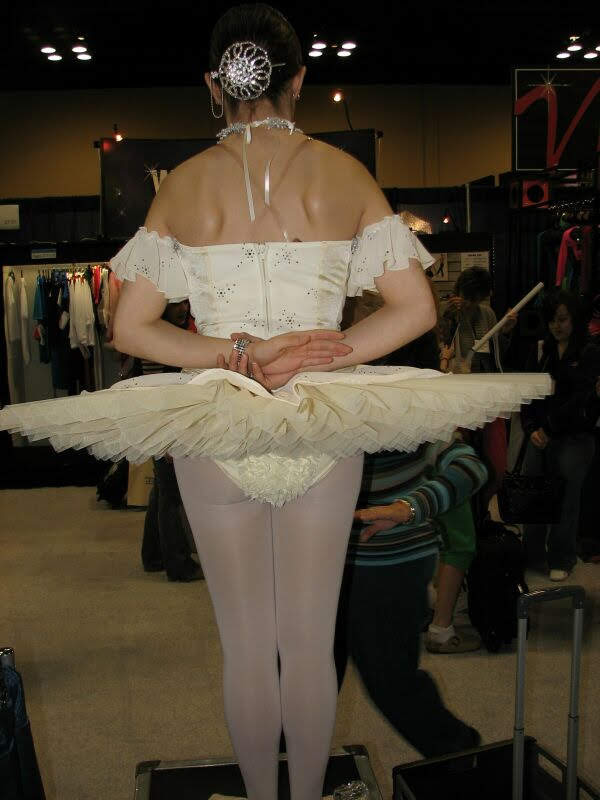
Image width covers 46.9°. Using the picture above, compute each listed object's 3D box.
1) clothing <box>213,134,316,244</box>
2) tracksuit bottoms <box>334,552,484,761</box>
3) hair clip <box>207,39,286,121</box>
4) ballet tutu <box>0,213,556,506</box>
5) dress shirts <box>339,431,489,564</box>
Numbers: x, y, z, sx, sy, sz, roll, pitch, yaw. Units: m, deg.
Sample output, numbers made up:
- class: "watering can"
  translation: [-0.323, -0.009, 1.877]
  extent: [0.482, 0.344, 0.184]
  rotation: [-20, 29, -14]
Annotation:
- class: "clothing"
  translation: [-0.056, -0.339, 1.098]
  extent: [0.147, 0.179, 0.056]
  rotation: [-4, -10, -5]
- class: "tracksuit bottoms"
  translation: [0.266, 0.774, 2.083]
  extent: [0.393, 0.489, 0.151]
  rotation: [-21, 20, 15]
- class: "hair clip"
  translation: [-0.081, -0.527, 1.129]
  extent: [0.142, 0.129, 0.033]
  rotation: [-2, 19, -3]
- class: "ballet tutu"
  translation: [-0.031, -0.067, 1.121]
  extent: [0.856, 0.461, 0.298]
  rotation: [-2, 3, -17]
- class: "dress shirts"
  translation: [0.397, 0.316, 2.309]
  extent: [0.568, 0.499, 0.375]
  rotation: [-3, -16, 28]
